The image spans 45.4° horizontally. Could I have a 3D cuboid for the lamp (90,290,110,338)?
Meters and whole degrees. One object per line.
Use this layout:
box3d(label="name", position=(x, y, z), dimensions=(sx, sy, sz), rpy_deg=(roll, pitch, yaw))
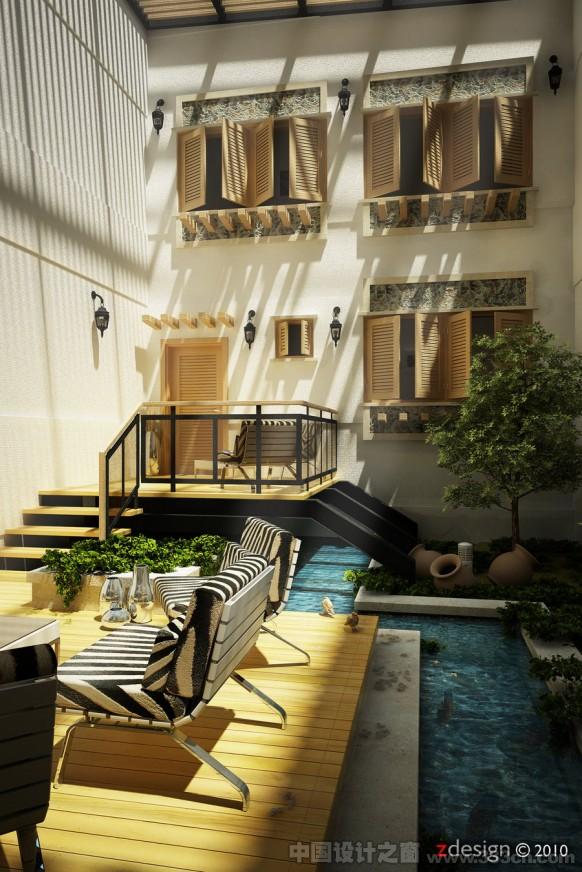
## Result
box3d(label="lamp", position=(-2.593, -1.695, 9.616), dimensions=(0.212, 0.447, 0.509), rpy_deg=(3, -1, -1))

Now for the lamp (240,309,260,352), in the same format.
box3d(label="lamp", position=(-0.619, -1.687, 10.864), dimensions=(0.205, 0.608, 0.179), rpy_deg=(3, -2, -5))

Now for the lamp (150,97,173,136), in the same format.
box3d(label="lamp", position=(-2.131, -5.184, 11.253), dimensions=(0.197, 0.595, 0.231), rpy_deg=(1, 12, 0))

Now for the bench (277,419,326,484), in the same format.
box3d(label="bench", position=(0.158, 0.104, 8.450), dimensions=(0.592, 0.760, 0.562), rpy_deg=(0, -3, -7))

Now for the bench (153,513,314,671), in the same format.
box3d(label="bench", position=(-0.434, 1.012, 4.582), dimensions=(0.876, 0.895, 0.936), rpy_deg=(5, -6, -15))

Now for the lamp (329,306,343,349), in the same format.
box3d(label="lamp", position=(0.694, -1.694, 10.542), dimensions=(0.175, 0.616, 0.266), rpy_deg=(3, -2, 3))

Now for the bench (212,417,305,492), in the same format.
box3d(label="bench", position=(-0.379, 0.203, 8.270), dimensions=(0.838, 0.772, 0.725), rpy_deg=(-1, -3, -37))

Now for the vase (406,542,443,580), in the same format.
box3d(label="vase", position=(1.520, 1.389, 7.950), dimensions=(0.279, 0.388, 0.304), rpy_deg=(3, -35, -5))

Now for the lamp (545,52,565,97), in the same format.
box3d(label="lamp", position=(3.759, -5.155, 9.853), dimensions=(0.189, 0.540, 0.267), rpy_deg=(2, -2, 19))

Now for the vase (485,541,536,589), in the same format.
box3d(label="vase", position=(2.327, 1.351, 7.431), dimensions=(0.404, 0.394, 0.673), rpy_deg=(1, -2, 44))

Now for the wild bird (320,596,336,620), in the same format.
box3d(label="wild bird", position=(0.305, 1.347, 5.611), dimensions=(0.110, 0.139, 0.292), rpy_deg=(3, -1, 3))

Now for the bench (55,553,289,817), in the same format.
box3d(label="bench", position=(-0.558, 1.045, 3.336), dimensions=(0.814, 0.889, 1.181), rpy_deg=(4, -3, 3))

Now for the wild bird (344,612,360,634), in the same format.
box3d(label="wild bird", position=(0.450, 1.336, 5.084), dimensions=(0.101, 0.126, 0.120), rpy_deg=(3, -2, 5))

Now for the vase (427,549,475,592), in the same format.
box3d(label="vase", position=(1.720, 1.410, 7.410), dimensions=(0.334, 0.372, 0.354), rpy_deg=(-24, 16, 18))

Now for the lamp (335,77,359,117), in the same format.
box3d(label="lamp", position=(0.839, -5.202, 10.571), dimensions=(0.235, 0.578, 0.288), rpy_deg=(3, -2, 6))
